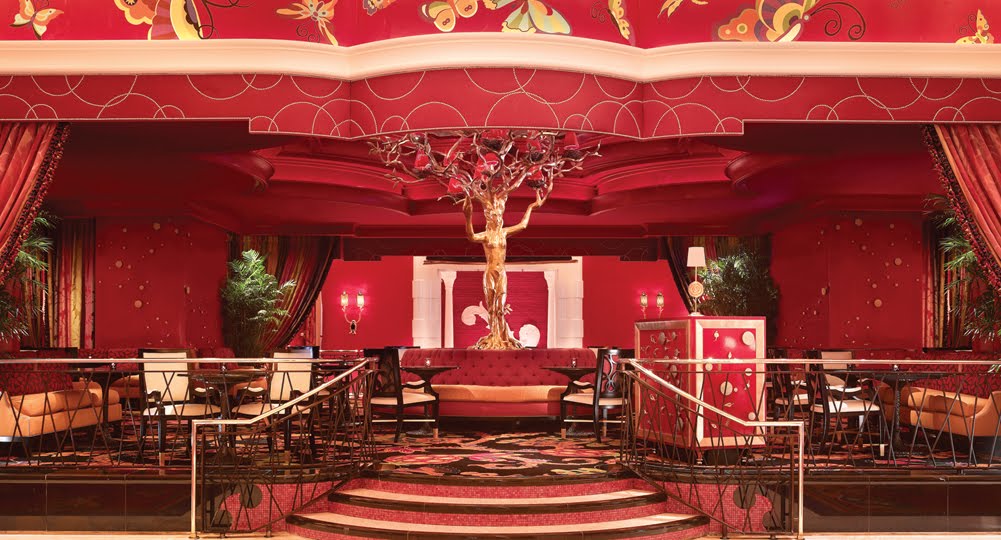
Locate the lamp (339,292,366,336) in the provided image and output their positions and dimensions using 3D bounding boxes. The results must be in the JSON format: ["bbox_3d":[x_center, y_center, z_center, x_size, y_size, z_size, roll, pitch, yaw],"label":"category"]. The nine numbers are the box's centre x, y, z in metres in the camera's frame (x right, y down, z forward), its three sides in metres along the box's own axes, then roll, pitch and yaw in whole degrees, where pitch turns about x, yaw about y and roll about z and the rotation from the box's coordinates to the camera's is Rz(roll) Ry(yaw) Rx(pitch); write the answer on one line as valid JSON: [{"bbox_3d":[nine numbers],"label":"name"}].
[{"bbox_3d":[-3.853,1.099,24.014,0.664,1.122,0.412,2,-13,-8],"label":"lamp"}]

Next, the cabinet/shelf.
[{"bbox_3d":[3.070,1.773,14.148,1.996,2.209,1.374,-3,-14,14],"label":"cabinet/shelf"}]
